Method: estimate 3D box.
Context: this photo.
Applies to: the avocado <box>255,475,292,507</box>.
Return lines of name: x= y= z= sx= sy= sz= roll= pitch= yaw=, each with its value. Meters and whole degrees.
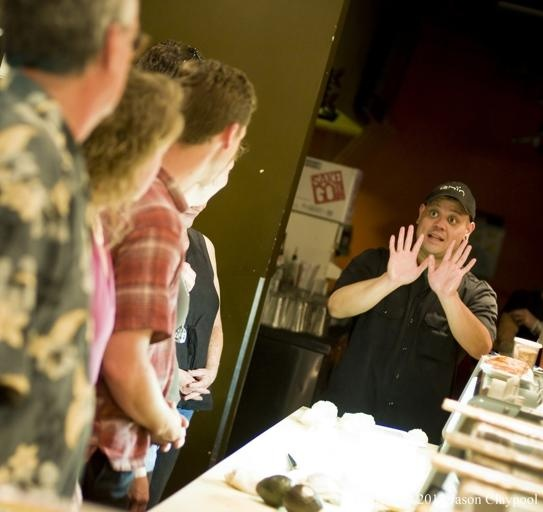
avocado: x=0.004 y=0.430 z=0.951 sx=0.045 sy=0.040 sz=0.051 roll=1 pitch=-11 yaw=-12

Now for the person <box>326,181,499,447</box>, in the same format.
person: x=0.609 y=0.217 z=2.261 sx=0.722 sy=1.168 sz=0.408 roll=8 pitch=1 yaw=22
